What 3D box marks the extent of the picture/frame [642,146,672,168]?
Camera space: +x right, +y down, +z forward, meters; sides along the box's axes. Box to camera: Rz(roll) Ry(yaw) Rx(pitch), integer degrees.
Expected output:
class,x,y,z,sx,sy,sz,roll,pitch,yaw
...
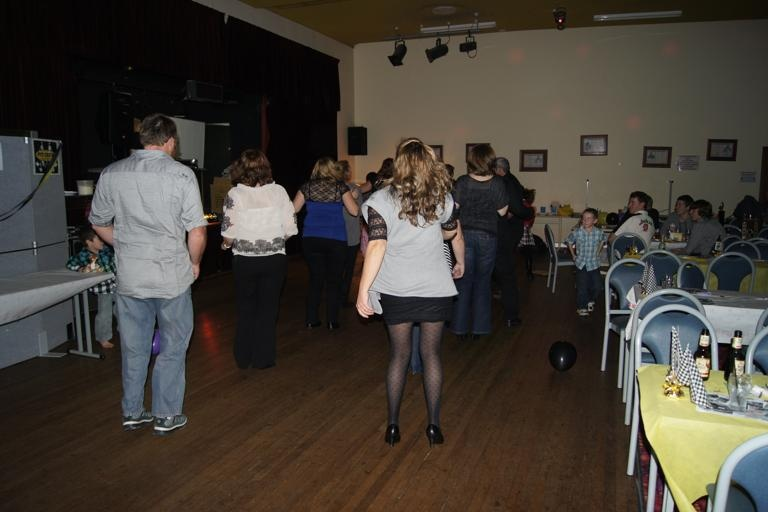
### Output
class,x,y,z,sx,sy,sz,roll,pitch,yaw
picture/frame,5.864,-2.164,10.918,0.421,0.387,0.035,2,4,8

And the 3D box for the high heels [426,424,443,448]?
class,x,y,z,sx,sy,sz,roll,pitch,yaw
high heels,0.376,1.325,3.797,0.089,0.077,0.187,1,-3,6

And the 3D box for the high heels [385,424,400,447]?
class,x,y,z,sx,sy,sz,roll,pitch,yaw
high heels,0.059,1.319,3.855,0.083,0.187,0.076,-3,12,1

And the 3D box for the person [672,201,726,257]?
class,x,y,z,sx,sy,sz,roll,pitch,yaw
person,4.095,-0.317,6.675,0.517,0.833,0.411,-16,27,-32

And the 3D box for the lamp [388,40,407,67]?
class,x,y,z,sx,sy,sz,roll,pitch,yaw
lamp,0.317,-4.526,11.290,0.441,0.390,0.844,-12,41,17

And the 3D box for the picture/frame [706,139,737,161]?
class,x,y,z,sx,sy,sz,roll,pitch,yaw
picture/frame,7.058,-2.264,10.641,0.414,0.440,0.032,2,4,10

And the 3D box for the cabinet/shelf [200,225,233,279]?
class,x,y,z,sx,sy,sz,roll,pitch,yaw
cabinet/shelf,-2.347,-0.067,7.094,0.293,0.904,0.751,2,5,1

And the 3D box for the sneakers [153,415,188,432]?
class,x,y,z,sx,sy,sz,roll,pitch,yaw
sneakers,-1.649,1.280,3.988,0.099,0.126,0.270,4,7,19

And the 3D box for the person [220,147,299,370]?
class,x,y,z,sx,sy,sz,roll,pitch,yaw
person,-1.143,0.058,4.730,0.647,2.067,0.287,-1,9,-15

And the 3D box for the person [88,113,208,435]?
class,x,y,z,sx,sy,sz,roll,pitch,yaw
person,-1.741,0.107,3.962,0.837,2.312,0.574,1,1,-2

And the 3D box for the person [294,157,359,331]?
class,x,y,z,sx,sy,sz,roll,pitch,yaw
person,-0.635,-0.101,5.613,0.652,1.949,0.544,1,9,-3

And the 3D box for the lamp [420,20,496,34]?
class,x,y,z,sx,sy,sz,roll,pitch,yaw
lamp,1.513,-4.780,10.620,1.588,0.161,0.620,4,10,16

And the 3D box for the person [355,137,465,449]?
class,x,y,z,sx,sy,sz,roll,pitch,yaw
person,0.176,0.296,3.643,0.697,2.242,0.342,1,9,1
